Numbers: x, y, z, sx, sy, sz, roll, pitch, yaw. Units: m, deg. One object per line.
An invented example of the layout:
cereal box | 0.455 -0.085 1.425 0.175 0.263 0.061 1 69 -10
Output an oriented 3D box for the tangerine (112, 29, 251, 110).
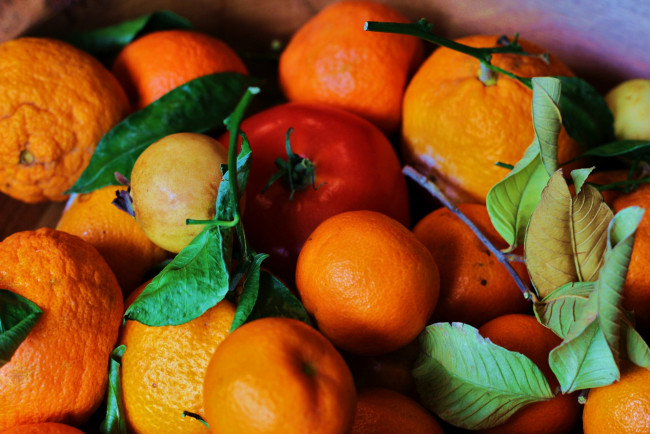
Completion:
tangerine | -0.259 -0.274 1.192 0.188 0.116 0.148 9 22 45

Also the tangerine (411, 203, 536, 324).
tangerine | 0.234 0.087 1.164 0.173 0.180 0.178 -19 25 -12

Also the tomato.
tomato | 0.000 -0.039 1.232 0.265 0.264 0.265 3 82 20

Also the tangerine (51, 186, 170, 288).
tangerine | -0.369 0.036 1.150 0.128 0.122 0.128 -9 81 -17
